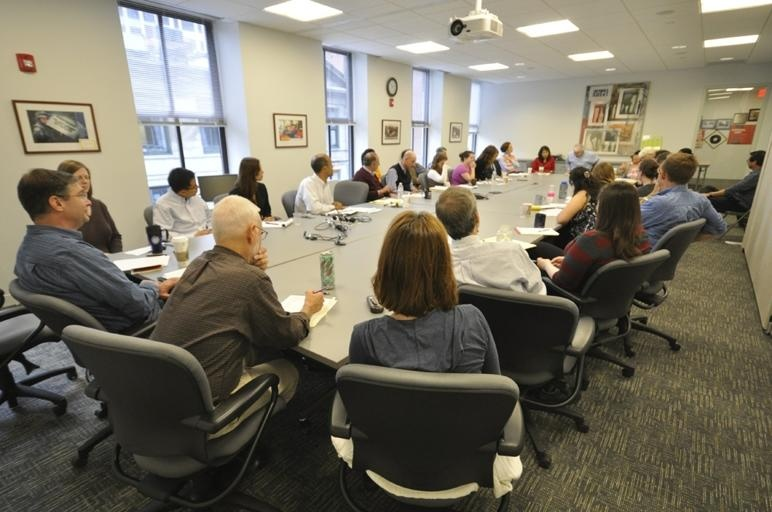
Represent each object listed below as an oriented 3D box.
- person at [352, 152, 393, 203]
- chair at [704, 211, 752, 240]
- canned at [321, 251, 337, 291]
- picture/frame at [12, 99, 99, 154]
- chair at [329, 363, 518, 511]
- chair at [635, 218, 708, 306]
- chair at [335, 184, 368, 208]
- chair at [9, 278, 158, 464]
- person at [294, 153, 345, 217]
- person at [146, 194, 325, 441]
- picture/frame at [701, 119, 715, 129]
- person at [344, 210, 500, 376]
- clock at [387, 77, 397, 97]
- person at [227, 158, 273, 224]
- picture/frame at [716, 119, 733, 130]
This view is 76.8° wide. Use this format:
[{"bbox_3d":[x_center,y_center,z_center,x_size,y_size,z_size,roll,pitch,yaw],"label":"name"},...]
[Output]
[{"bbox_3d":[-0.180,-1.083,7.012,0.511,0.799,0.499,-7,13,-39],"label":"person"},{"bbox_3d":[4.447,-0.389,6.312,0.332,0.552,0.383,-15,22,-36],"label":"chair"},{"bbox_3d":[-0.460,0.109,3.810,0.122,0.305,0.111,-4,24,-13],"label":"canned"},{"bbox_3d":[-3.711,-1.450,5.411,0.022,0.497,0.638,10,15,39],"label":"picture/frame"},{"bbox_3d":[0.278,0.990,3.237,0.952,1.104,0.981,2,38,6],"label":"chair"},{"bbox_3d":[2.502,0.088,4.584,0.654,0.807,0.609,7,7,31],"label":"chair"},{"bbox_3d":[-0.439,-0.873,6.561,0.332,0.470,0.374,8,17,24],"label":"chair"},{"bbox_3d":[-2.164,0.838,3.497,0.752,1.140,0.739,25,33,22],"label":"chair"},{"bbox_3d":[-0.821,-0.888,6.114,0.640,0.767,0.517,-1,12,-2],"label":"person"},{"bbox_3d":[-1.093,0.619,3.637,0.945,2.015,1.266,12,17,19],"label":"person"},{"bbox_3d":[6.774,-2.784,10.217,0.026,0.142,0.191,-22,27,-39],"label":"picture/frame"},{"bbox_3d":[0.217,0.255,2.969,0.918,1.013,0.377,-5,17,-7],"label":"person"},{"bbox_3d":[0.119,-3.255,9.358,0.029,0.344,0.378,8,20,32],"label":"clock"},{"bbox_3d":[-1.570,-0.712,5.716,0.466,0.847,0.524,22,32,28],"label":"person"},{"bbox_3d":[7.009,-2.735,10.063,0.020,0.205,0.197,-19,27,-33],"label":"picture/frame"}]
